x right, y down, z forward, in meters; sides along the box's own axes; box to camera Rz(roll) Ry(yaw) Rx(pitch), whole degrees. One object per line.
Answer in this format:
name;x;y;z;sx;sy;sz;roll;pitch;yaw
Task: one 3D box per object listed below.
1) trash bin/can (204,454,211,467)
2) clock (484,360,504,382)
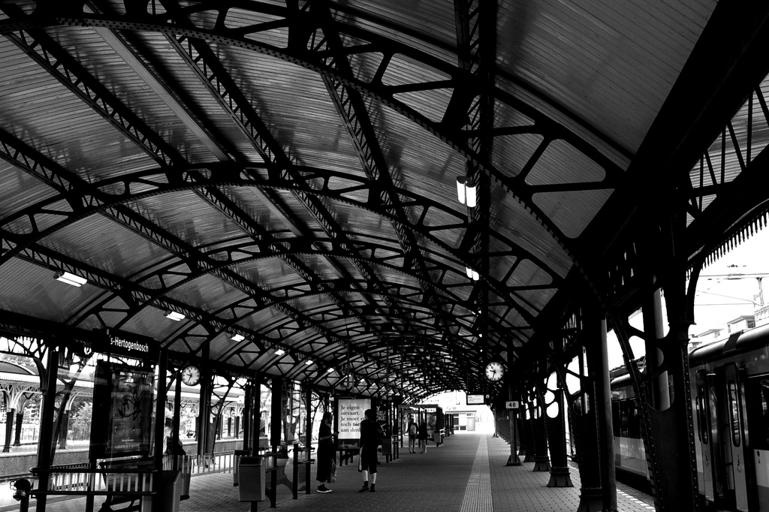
trash bin/can;-9.308;10.840;36.004;0.339;0.666;1.223;3;-21;-12
clock;5.525;5.755;34.206;0.896;0.931;0.908;-4;-21;7
